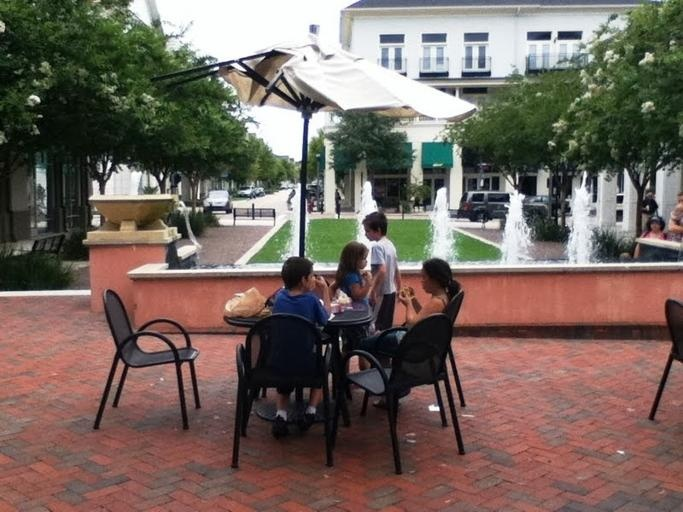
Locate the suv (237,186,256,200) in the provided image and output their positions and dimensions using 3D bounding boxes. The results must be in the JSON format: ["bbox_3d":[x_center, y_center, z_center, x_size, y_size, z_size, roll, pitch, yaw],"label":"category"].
[{"bbox_3d":[-12.726,-8.561,92.013,1.399,1.123,3.183,-1,1,2],"label":"suv"}]

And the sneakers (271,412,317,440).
[{"bbox_3d":[-0.479,1.585,6.364,0.488,0.235,0.177,5,2,-28],"label":"sneakers"}]

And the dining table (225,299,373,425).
[{"bbox_3d":[-0.359,1.143,6.895,1.224,0.969,1.252,-4,14,-13],"label":"dining table"}]

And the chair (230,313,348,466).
[{"bbox_3d":[-0.465,1.065,5.730,0.952,1.238,0.953,0,-5,15],"label":"chair"}]

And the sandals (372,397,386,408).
[{"bbox_3d":[0.412,1.540,7.137,0.062,0.121,0.183,-4,11,-24],"label":"sandals"}]

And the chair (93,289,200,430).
[{"bbox_3d":[-1.919,0.994,6.817,0.945,1.298,0.878,1,3,0],"label":"chair"}]

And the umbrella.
[{"bbox_3d":[-0.318,-1.366,7.874,2.743,2.053,2.710,-3,21,-32],"label":"umbrella"}]

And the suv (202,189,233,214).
[{"bbox_3d":[-8.470,-3.808,46.972,1.347,1.188,3.091,-1,1,-5],"label":"suv"}]

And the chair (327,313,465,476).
[{"bbox_3d":[0.534,1.132,6.391,0.865,1.384,0.960,-8,13,-38],"label":"chair"}]

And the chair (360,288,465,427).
[{"bbox_3d":[0.748,0.963,7.277,1.274,1.798,1.046,1,-1,21],"label":"chair"}]

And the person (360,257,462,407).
[{"bbox_3d":[0.607,0.736,6.903,0.885,1.508,0.595,18,10,21],"label":"person"}]

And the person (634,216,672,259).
[{"bbox_3d":[5.625,-0.205,12.201,0.629,1.092,0.364,1,-25,29],"label":"person"}]
